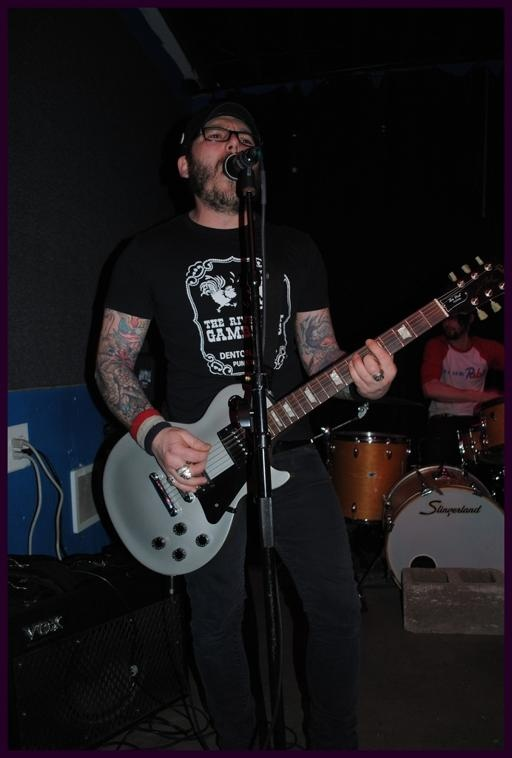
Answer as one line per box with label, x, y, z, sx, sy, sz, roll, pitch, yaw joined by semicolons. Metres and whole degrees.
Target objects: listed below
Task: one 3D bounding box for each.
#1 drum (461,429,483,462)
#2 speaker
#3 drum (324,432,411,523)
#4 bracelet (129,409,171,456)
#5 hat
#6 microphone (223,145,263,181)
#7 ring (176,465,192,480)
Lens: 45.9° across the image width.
drum;1.172;0.364;3.300;0.152;0.161;0.157;-1;-10;-4
speaker;-0.504;0.882;1.936;0.384;0.498;0.693;-6;-8;28
drum;0.651;0.512;3.418;0.452;0.479;0.461;1;0;17
bracelet;-0.287;0.145;1.659;0.071;0.112;0.146;1;0;-33
hat;-0.109;-0.827;2.054;0.294;0.124;0.400;-10;-7;-5
microphone;-0.033;-0.495;1.421;0.069;0.073;0.133;1;0;-23
ring;-0.183;0.242;1.550;0.036;0.031;0.014;1;0;-5
